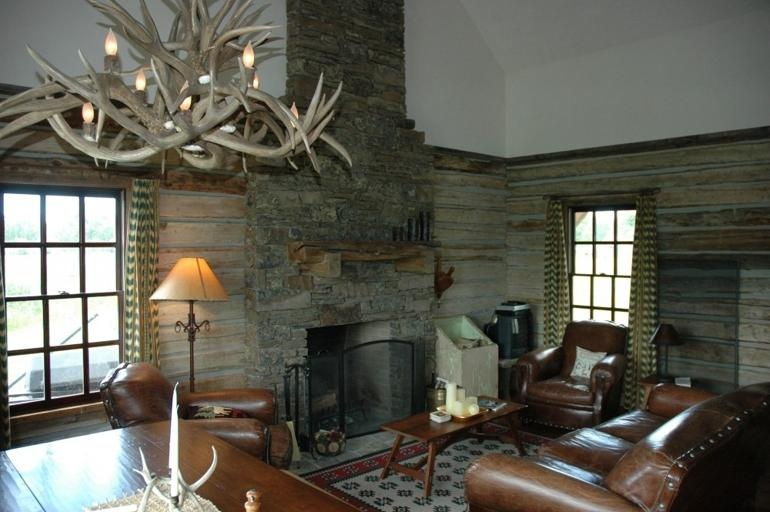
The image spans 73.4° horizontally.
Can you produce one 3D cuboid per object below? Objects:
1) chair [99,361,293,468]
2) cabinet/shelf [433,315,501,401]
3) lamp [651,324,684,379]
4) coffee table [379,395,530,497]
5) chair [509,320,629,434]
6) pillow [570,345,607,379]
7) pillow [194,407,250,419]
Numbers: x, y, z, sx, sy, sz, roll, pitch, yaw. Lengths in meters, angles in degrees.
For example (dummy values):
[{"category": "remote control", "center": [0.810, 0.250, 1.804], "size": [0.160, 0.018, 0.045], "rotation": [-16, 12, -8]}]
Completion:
[{"category": "chair", "center": [-1.504, 1.430, 4.210], "size": [1.470, 0.963, 1.145], "rotation": [6, 1, -7]}, {"category": "cabinet/shelf", "center": [0.994, 1.310, 6.588], "size": [0.682, 0.872, 0.570], "rotation": [-7, 10, -34]}, {"category": "lamp", "center": [3.220, 1.083, 5.944], "size": [0.299, 0.660, 0.666], "rotation": [0, 1, 29]}, {"category": "coffee table", "center": [0.464, 1.641, 4.820], "size": [0.652, 0.463, 1.813], "rotation": [4, 5, 42]}, {"category": "chair", "center": [2.266, 1.360, 6.207], "size": [1.312, 1.074, 1.471], "rotation": [-2, -2, 44]}, {"category": "pillow", "center": [2.319, 1.250, 6.005], "size": [0.362, 0.292, 0.109], "rotation": [-23, -33, 38]}, {"category": "pillow", "center": [-1.345, 1.270, 4.194], "size": [0.229, 0.052, 0.175], "rotation": [3, -7, -8]}]
